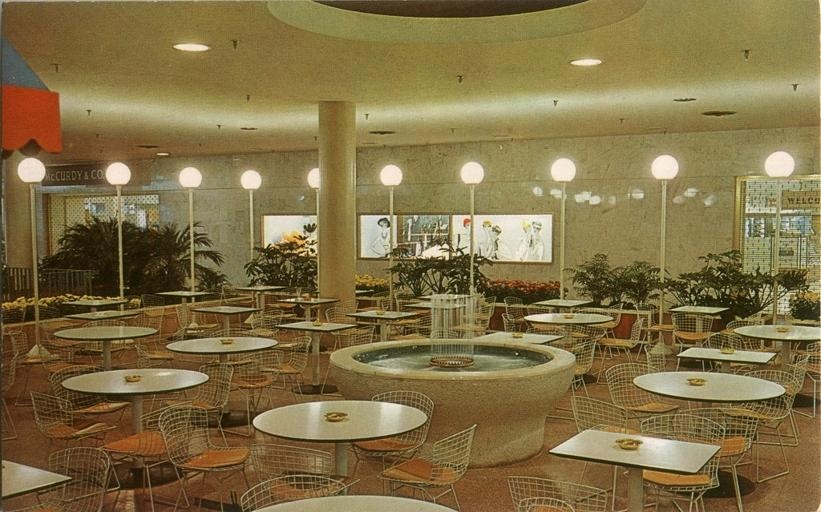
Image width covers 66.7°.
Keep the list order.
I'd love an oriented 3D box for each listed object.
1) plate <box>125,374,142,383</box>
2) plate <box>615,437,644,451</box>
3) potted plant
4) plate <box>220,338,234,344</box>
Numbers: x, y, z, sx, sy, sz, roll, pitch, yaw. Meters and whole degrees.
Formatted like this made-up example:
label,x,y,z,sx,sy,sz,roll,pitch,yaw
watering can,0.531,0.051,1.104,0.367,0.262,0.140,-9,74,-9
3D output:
label,x,y,z,sx,sy,sz,roll,pitch,yaw
plate,-3.196,1.419,7.237,0.207,0.041,0.195,1,-1,-6
plate,1.980,1.700,5.669,0.236,0.091,0.160,1,-1,12
potted plant,4.738,0.757,14.311,2.966,2.128,2.020,-2,-3,12
plate,-2.656,1.241,9.103,0.111,0.034,0.096,-1,3,15
